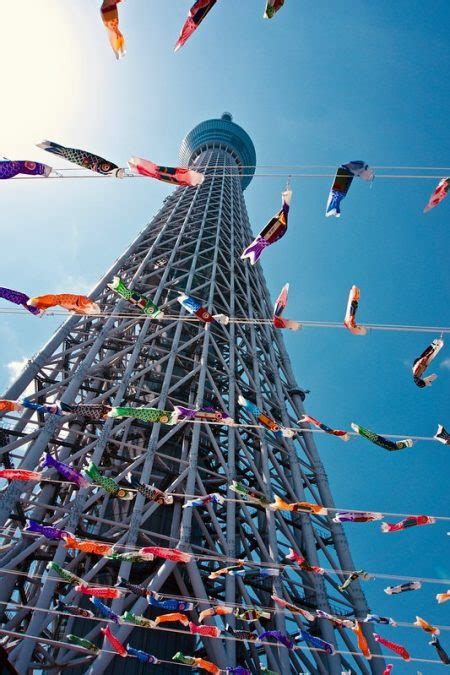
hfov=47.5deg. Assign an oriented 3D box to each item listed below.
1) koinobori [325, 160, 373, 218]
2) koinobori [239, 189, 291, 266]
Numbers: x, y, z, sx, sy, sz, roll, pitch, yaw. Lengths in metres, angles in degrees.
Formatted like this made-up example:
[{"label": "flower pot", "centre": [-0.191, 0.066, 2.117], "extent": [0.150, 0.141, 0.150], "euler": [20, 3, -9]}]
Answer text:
[{"label": "koinobori", "centre": [2.828, -3.471, 11.921], "extent": [0.585, 0.970, 1.048], "euler": [13, -14, -16]}, {"label": "koinobori", "centre": [1.119, -2.807, 12.987], "extent": [0.793, 1.687, 1.400], "euler": [12, -13, -11]}]
